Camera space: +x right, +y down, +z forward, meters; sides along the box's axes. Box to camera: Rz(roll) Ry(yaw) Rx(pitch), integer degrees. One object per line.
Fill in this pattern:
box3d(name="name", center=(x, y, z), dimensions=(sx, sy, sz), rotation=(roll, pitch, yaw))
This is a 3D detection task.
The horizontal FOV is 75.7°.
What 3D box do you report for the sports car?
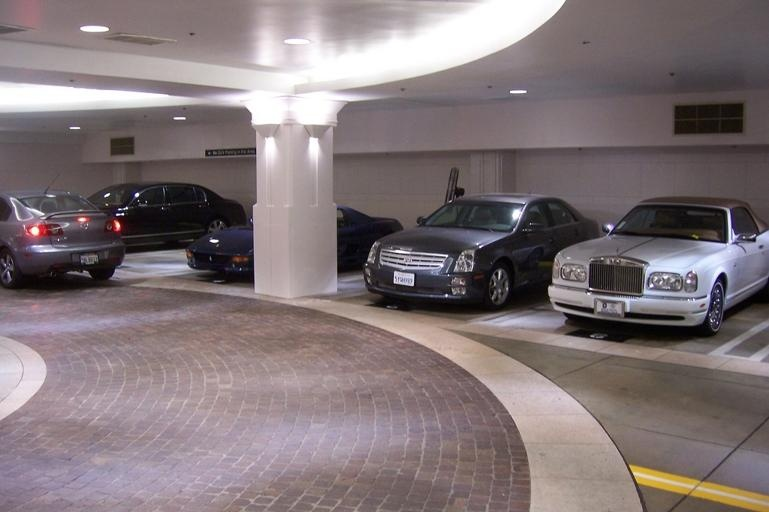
box3d(name="sports car", center=(-2.159, -0.285, 12.645), dimensions=(4.163, 1.277, 2.405), rotation=(0, 0, -38))
